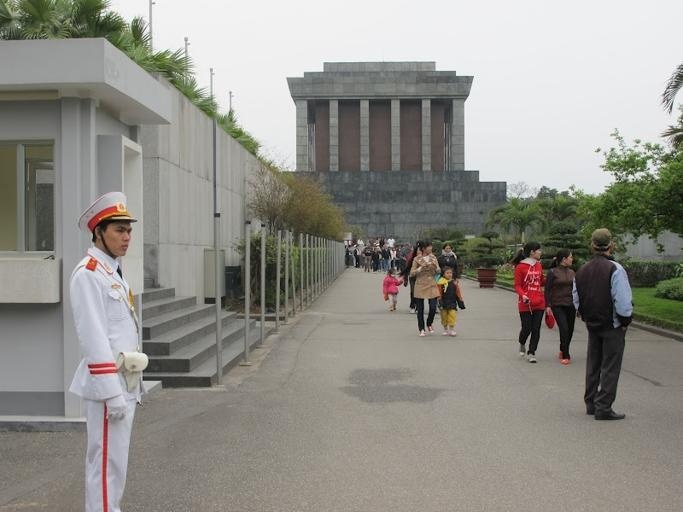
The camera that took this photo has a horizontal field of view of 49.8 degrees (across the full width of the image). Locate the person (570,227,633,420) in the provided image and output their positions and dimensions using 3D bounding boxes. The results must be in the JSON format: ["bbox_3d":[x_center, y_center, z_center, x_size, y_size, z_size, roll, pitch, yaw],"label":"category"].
[{"bbox_3d":[3.488,1.081,9.824,0.559,2.011,0.666,-2,2,-3],"label":"person"}]

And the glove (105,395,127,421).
[{"bbox_3d":[-1.887,1.265,6.198,0.150,0.165,0.180,-3,2,4],"label":"glove"}]

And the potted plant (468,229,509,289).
[{"bbox_3d":[7.798,0.464,39.481,1.739,3.017,1.934,2,-2,23],"label":"potted plant"}]

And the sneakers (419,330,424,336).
[{"bbox_3d":[1.779,1.756,16.437,0.090,0.127,0.275,-1,-7,5],"label":"sneakers"}]

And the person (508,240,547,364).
[{"bbox_3d":[3.437,0.864,13.545,0.542,2.042,1.102,-1,2,14],"label":"person"}]

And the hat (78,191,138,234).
[{"bbox_3d":[-2.105,-0.363,6.489,0.396,0.231,0.357,-16,-10,27],"label":"hat"}]

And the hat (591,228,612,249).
[{"bbox_3d":[3.574,-0.174,10.159,0.187,0.173,0.334,-2,28,25],"label":"hat"}]
